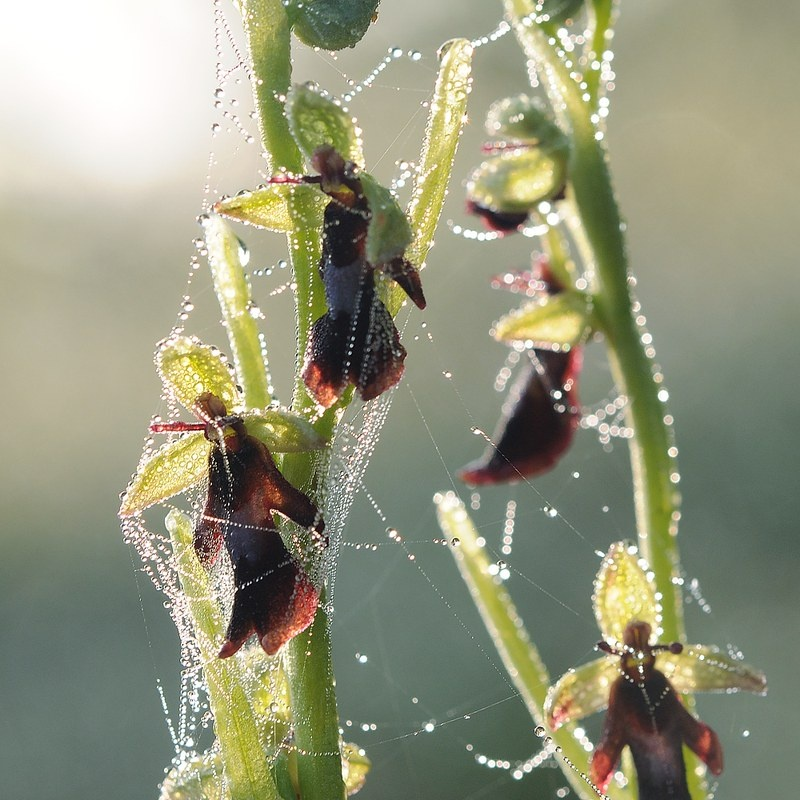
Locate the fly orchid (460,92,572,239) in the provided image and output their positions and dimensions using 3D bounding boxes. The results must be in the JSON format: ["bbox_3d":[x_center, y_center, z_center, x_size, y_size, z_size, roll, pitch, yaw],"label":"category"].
[{"bbox_3d":[0.125,-0.250,1.249,0.116,0.112,0.067,-17,-19,-4],"label":"fly orchid"}]

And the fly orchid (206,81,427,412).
[{"bbox_3d":[-0.046,-0.122,0.972,0.086,0.220,0.112,-5,-22,-30],"label":"fly orchid"}]
